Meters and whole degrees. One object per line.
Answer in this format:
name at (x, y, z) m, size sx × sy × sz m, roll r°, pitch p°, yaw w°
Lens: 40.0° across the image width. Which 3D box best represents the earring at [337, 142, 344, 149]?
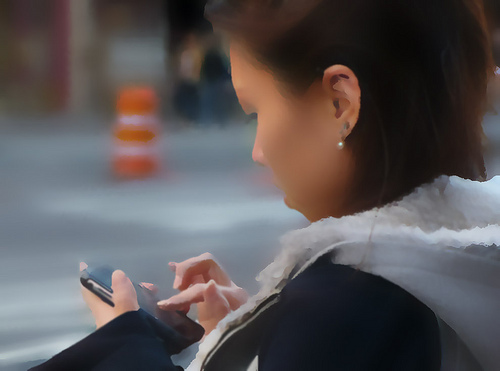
earring at (0.239, -0.105, 1.815) m, size 0.018 × 0.018 × 0.002 m, roll 6°, pitch 12°, yaw 25°
